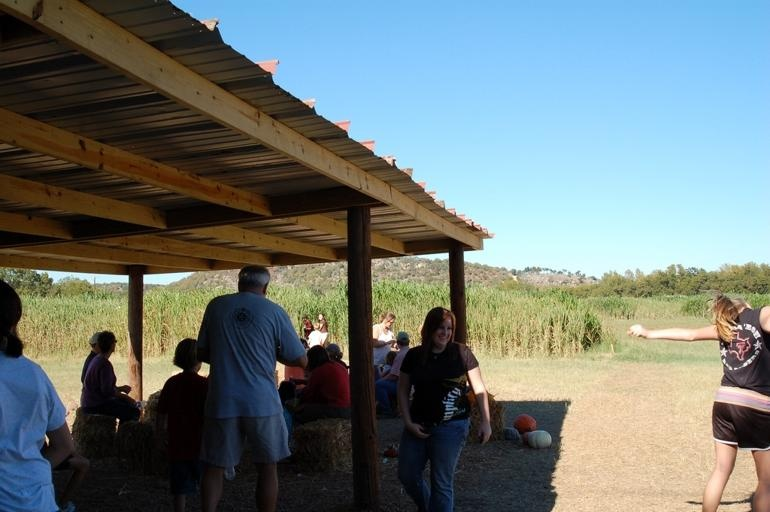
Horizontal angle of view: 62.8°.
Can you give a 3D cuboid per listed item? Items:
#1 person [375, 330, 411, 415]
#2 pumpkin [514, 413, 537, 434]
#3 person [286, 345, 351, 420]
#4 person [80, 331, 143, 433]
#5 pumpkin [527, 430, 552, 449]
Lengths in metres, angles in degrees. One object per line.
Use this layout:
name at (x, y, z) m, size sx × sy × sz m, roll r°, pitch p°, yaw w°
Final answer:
person at (0.192, 2.136, 11.443) m, size 0.839 × 1.463 × 0.685 m, roll -1°, pitch 2°, yaw 24°
pumpkin at (2.256, 2.667, 9.993) m, size 0.313 × 0.288 × 0.300 m, roll 16°, pitch -12°, yaw -1°
person at (-0.948, 1.789, 8.984) m, size 0.938 × 1.034 × 0.919 m, roll 1°, pitch 1°, yaw 33°
person at (-3.727, 1.673, 8.647) m, size 0.764 × 1.263 × 1.400 m, roll 2°, pitch -6°, yaw -25°
pumpkin at (2.284, 2.699, 9.322) m, size 0.278 × 0.176 × 0.271 m, roll -3°, pitch -2°, yaw 20°
